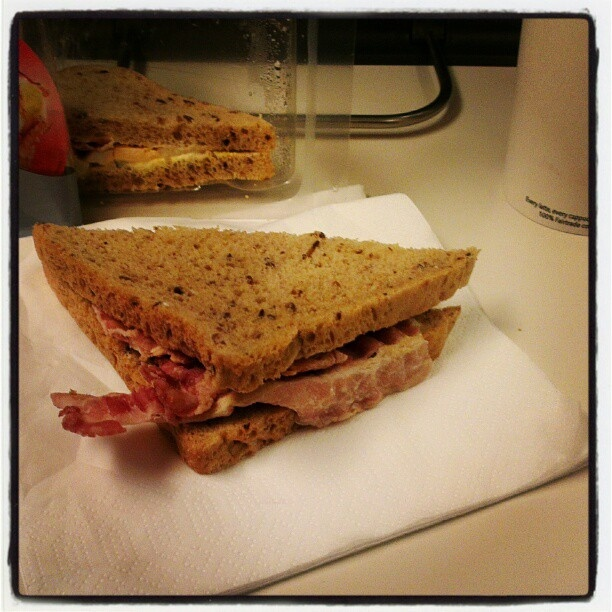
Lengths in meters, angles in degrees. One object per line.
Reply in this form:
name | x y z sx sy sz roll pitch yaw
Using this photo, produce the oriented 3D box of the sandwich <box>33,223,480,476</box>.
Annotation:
sandwich | -0.044 0.031 0.731 0.414 0.122 0.357 -3 33 -34
